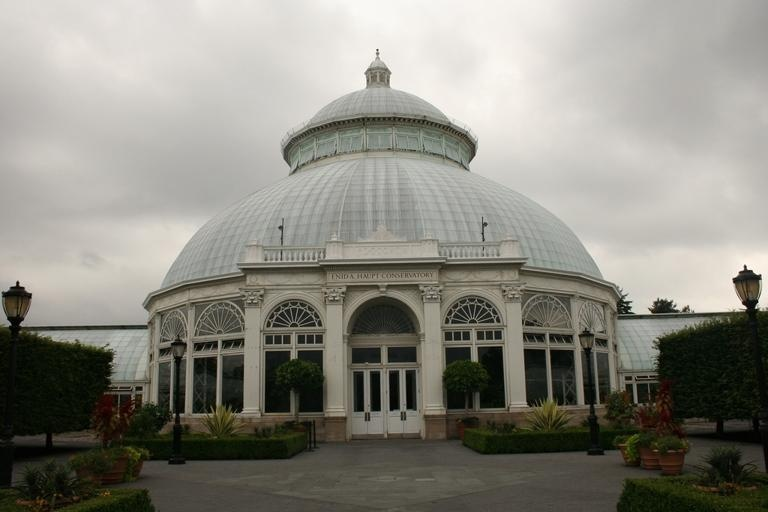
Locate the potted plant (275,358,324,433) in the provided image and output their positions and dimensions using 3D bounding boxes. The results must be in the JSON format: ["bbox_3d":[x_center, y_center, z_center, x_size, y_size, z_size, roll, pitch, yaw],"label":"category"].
[{"bbox_3d":[-5.061,7.445,45.223,2.871,3.222,2.966,0,5,-4],"label":"potted plant"}]

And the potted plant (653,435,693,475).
[{"bbox_3d":[11.958,8.347,32.751,1.534,1.448,1.492,0,-18,4],"label":"potted plant"}]

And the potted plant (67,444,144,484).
[{"bbox_3d":[-11.207,8.478,31.824,1.418,1.511,2.951,-4,-17,12],"label":"potted plant"}]
